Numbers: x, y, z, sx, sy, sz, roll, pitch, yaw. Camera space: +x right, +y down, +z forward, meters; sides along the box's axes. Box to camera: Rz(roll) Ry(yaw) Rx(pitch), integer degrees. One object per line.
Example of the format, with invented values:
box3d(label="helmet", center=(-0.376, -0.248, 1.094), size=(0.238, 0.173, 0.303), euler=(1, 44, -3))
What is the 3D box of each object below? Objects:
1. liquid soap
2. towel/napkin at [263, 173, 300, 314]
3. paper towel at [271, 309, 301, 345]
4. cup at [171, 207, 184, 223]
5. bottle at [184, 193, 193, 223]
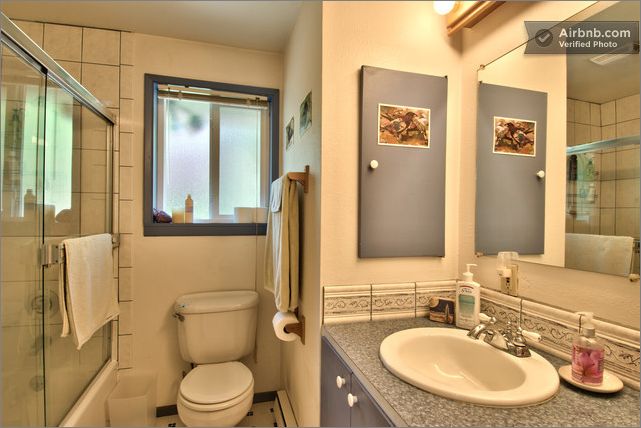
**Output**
box3d(label="liquid soap", center=(1.163, 0.575, 1.919), size=(0.119, 0.289, 0.164), euler=(3, 3, 33))
box3d(label="towel/napkin", center=(-0.228, 0.175, 2.727), size=(0.197, 0.831, 0.417), euler=(0, 3, -11))
box3d(label="paper towel", center=(-0.201, 0.663, 2.654), size=(0.154, 0.188, 0.164), euler=(1, 3, -3))
box3d(label="cup", center=(-1.020, 0.012, 3.171), size=(0.094, 0.107, 0.093), euler=(0, 1, 0))
box3d(label="bottle", center=(-0.958, -0.040, 3.206), size=(0.055, 0.198, 0.063), euler=(-1, 3, -25))
